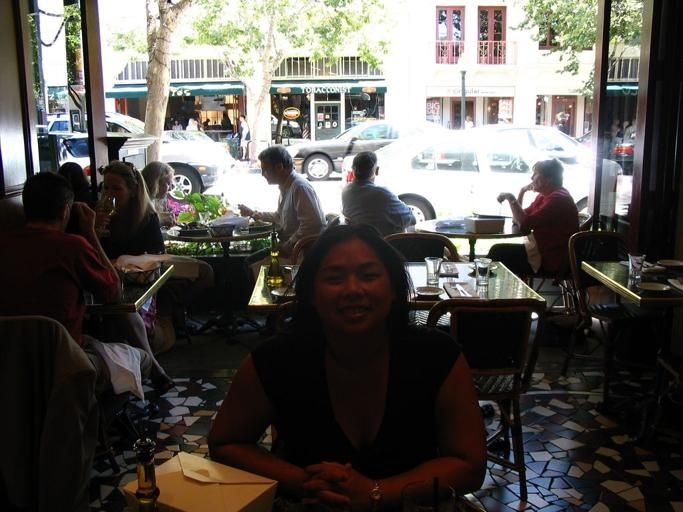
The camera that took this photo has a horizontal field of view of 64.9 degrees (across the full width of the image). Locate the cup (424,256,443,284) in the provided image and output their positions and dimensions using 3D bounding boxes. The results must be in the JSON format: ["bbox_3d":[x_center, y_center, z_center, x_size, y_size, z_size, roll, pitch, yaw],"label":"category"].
[{"bbox_3d":[0.647,0.103,3.868,0.159,0.211,0.156,0,10,0],"label":"cup"}]

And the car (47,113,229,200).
[{"bbox_3d":[-3.889,-1.832,10.556,3.562,1.522,1.696,-4,11,-7],"label":"car"}]

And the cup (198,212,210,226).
[{"bbox_3d":[-1.490,-0.405,5.856,0.125,0.150,0.130,1,13,0],"label":"cup"}]

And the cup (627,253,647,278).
[{"bbox_3d":[2.134,0.076,3.904,0.127,0.182,0.122,0,18,0],"label":"cup"}]

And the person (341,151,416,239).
[{"bbox_3d":[0.343,-0.572,5.665,0.751,1.049,0.563,10,28,34],"label":"person"}]

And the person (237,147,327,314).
[{"bbox_3d":[-0.650,-0.223,5.722,1.003,1.759,0.751,1,2,6],"label":"person"}]

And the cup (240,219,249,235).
[{"bbox_3d":[-1.017,-0.300,5.615,0.099,0.171,0.104,-1,17,0],"label":"cup"}]

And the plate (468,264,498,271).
[{"bbox_3d":[1.149,0.094,4.290,0.111,0.027,0.115,-2,8,-4],"label":"plate"}]
